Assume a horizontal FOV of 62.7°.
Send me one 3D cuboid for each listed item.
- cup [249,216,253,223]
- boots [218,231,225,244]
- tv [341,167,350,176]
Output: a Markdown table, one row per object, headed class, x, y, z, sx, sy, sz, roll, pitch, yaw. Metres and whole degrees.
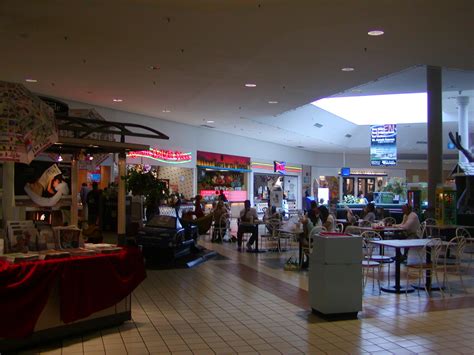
| class | x | y | z | sx | sy | sz | roll | pitch | yaw |
| --- | --- | --- | --- | --- | --- | --- | --- | --- | --- |
| cup | 0.417 | 1.210 | 11.218 | 0.094 | 0.181 | 0.093 | 1 | 2 | 0 |
| boots | -0.535 | 1.957 | 12.803 | 0.348 | 0.390 | 0.328 | 1 | -7 | -3 |
| tv | 8.013 | -0.430 | 28.863 | 0.625 | 0.613 | 0.327 | 1 | -3 | -21 |
